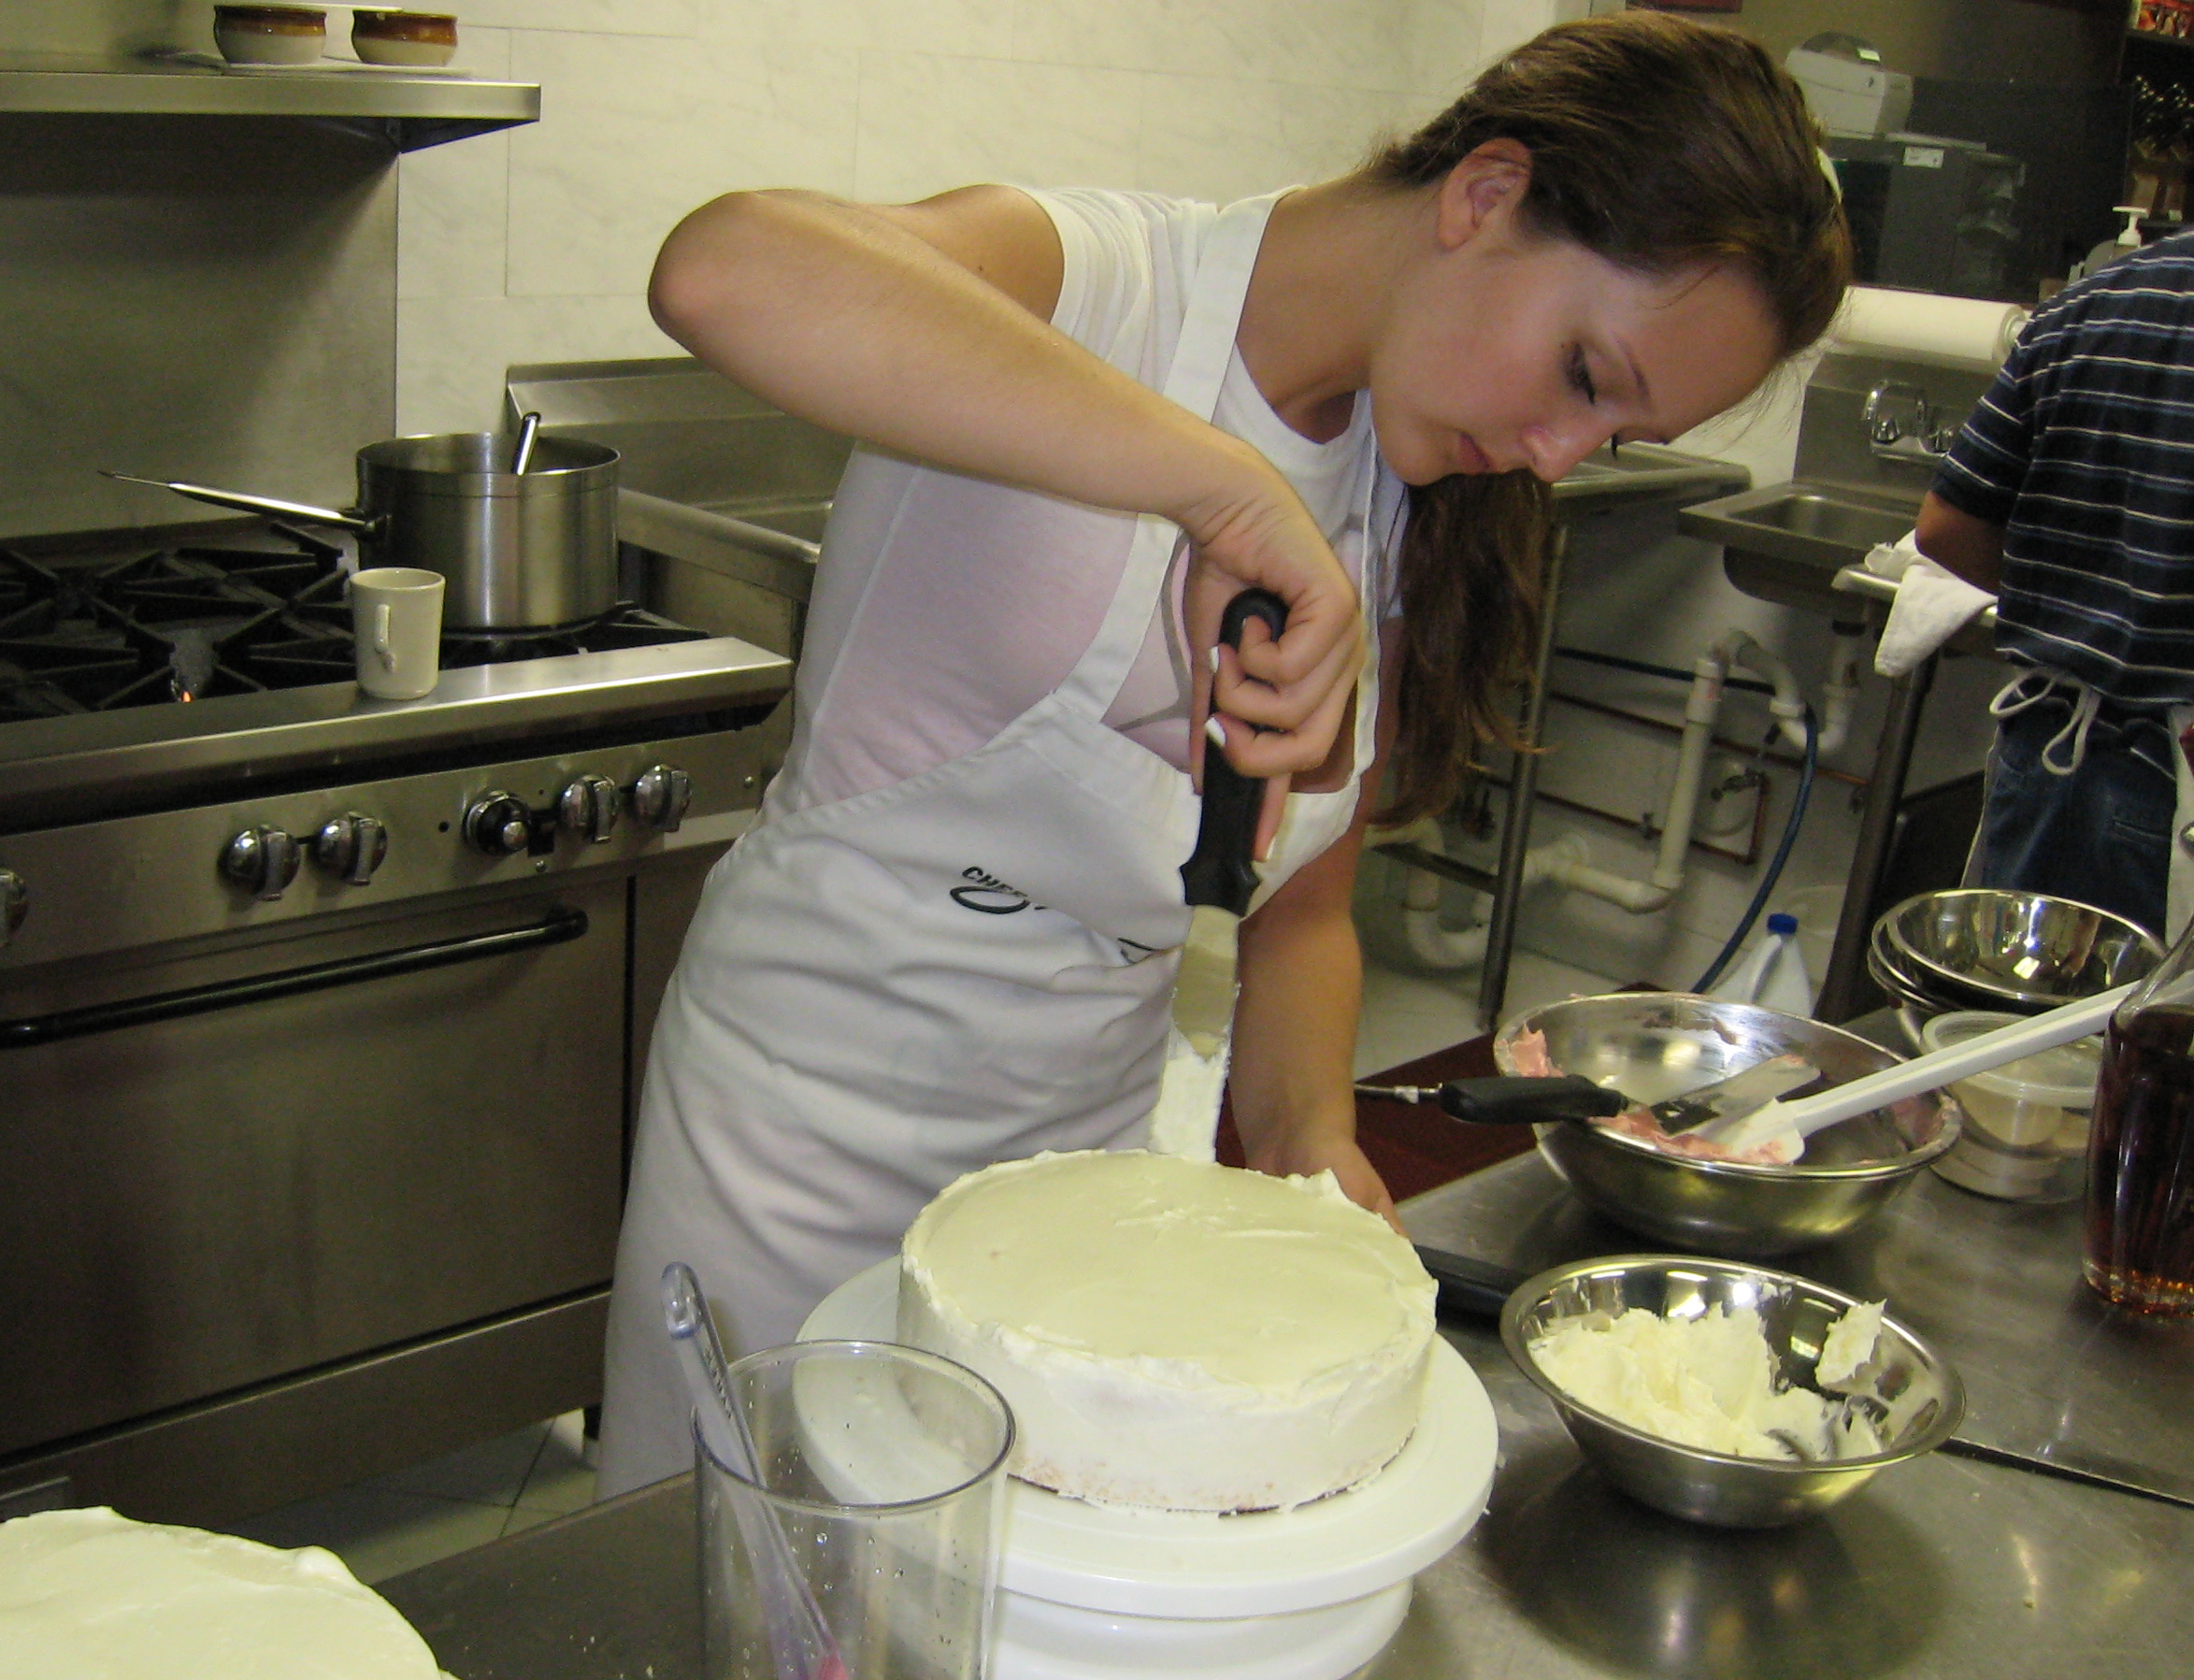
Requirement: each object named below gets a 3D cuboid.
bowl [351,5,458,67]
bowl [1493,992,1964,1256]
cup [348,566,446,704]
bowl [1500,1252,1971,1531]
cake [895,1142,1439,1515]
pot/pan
[{"bbox_3d":[-0.942,-1.089,2.475,0.092,0.050,0.108,14,18,30],"label":"bowl"},{"bbox_3d":[0.481,0.228,1.429,0.336,0.113,0.335,2,17,-1],"label":"bowl"},{"bbox_3d":[-0.835,-0.236,2.142,0.103,0.141,0.156,4,23,-13],"label":"cup"},{"bbox_3d":[0.401,0.317,1.131,0.201,0.064,0.199,3,0,0],"label":"bowl"},{"bbox_3d":[0.046,0.285,1.098,0.287,0.091,0.284,-10,26,-40],"label":"cake"},{"bbox_3d":[-1.006,-0.424,2.515,0.637,0.238,0.345,1,7,-1],"label":"pot/pan"}]
